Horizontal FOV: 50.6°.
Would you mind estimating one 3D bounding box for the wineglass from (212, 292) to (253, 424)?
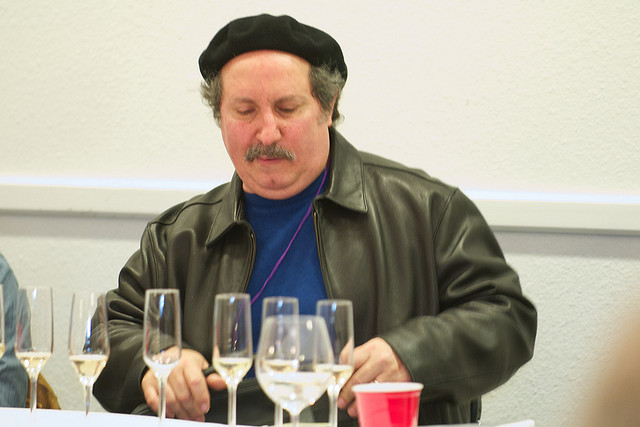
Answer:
[{"bbox_3d":[-0.274,0.458,2.132,0.115,0.399,0.129,-3,-9,14],"label":"wineglass"}]

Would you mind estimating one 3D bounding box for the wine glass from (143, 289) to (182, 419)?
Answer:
[{"bbox_3d":[-0.521,0.453,2.192,0.113,0.417,0.159,2,-9,-15],"label":"wine glass"}]

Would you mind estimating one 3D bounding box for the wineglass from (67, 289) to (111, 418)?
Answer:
[{"bbox_3d":[-0.780,0.514,2.251,0.138,0.545,0.138,2,0,-10],"label":"wineglass"}]
